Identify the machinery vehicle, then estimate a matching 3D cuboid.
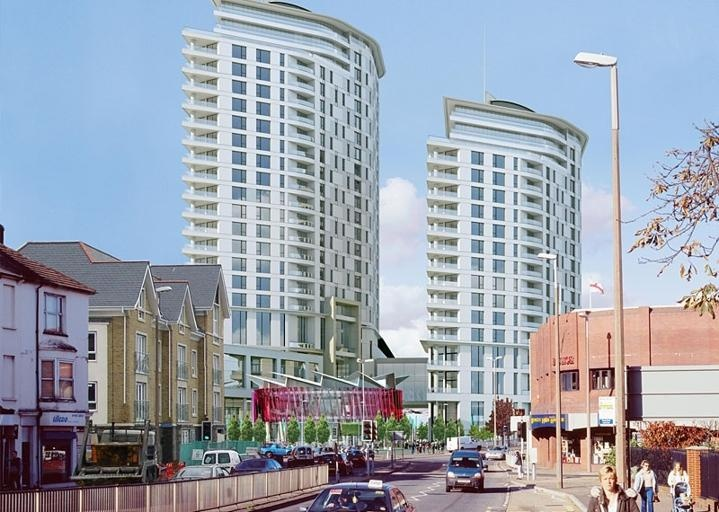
[{"bbox_3d":[-13.540,11.214,80.891,3.889,3.696,6.836,-2,-8,-1],"label":"machinery vehicle"}]
